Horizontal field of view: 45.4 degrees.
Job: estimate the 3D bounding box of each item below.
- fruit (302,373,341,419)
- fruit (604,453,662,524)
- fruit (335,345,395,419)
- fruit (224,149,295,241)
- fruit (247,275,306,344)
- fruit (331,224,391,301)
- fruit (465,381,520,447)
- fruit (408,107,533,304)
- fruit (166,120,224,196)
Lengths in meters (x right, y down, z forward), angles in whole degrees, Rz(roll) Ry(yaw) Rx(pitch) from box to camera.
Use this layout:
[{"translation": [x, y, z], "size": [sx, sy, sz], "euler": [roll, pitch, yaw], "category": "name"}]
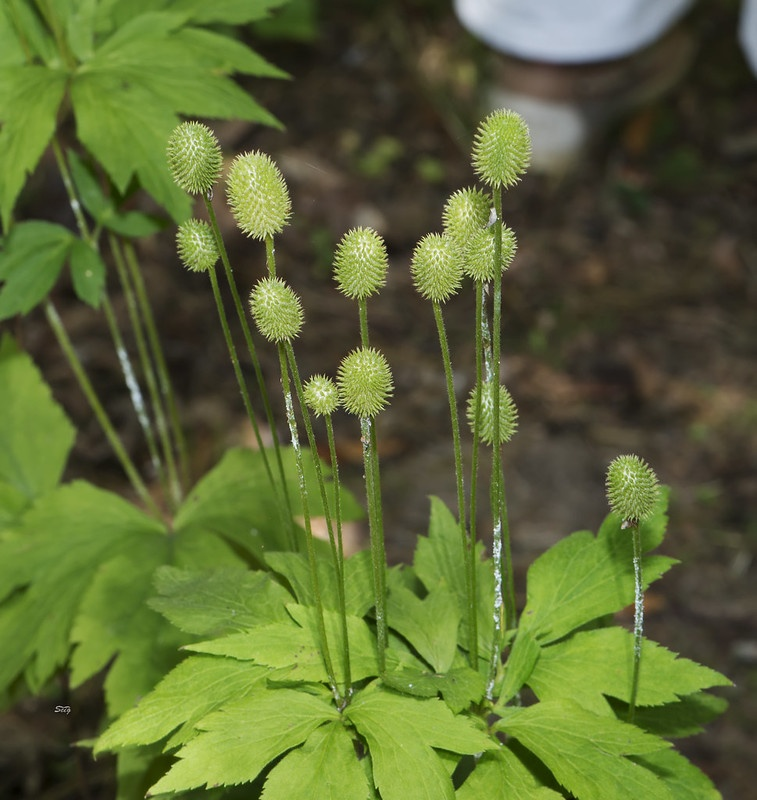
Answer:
[{"translation": [-0.053, -0.003, 0.959], "size": [0.015, 0.042, 0.040], "euler": [-33, 34, 27], "category": "fruit"}, {"translation": [0.281, 0.098, 1.006], "size": [0.058, 0.050, 0.067], "euler": [-16, 88, 2], "category": "fruit"}, {"translation": [-0.014, -0.021, 0.959], "size": [0.063, 0.062, 0.068], "euler": [-16, 72, 42], "category": "fruit"}, {"translation": [-0.125, -0.226, 1.005], "size": [0.075, 0.054, 0.092], "euler": [-7, 101, 11], "category": "fruit"}, {"translation": [-0.110, -0.110, 0.966], "size": [0.060, 0.050, 0.038], "euler": [36, 119, 55], "category": "fruit"}, {"translation": [-0.019, -0.146, 0.962], "size": [0.079, 0.074, 0.072], "euler": [-6, 95, -16], "category": "fruit"}, {"translation": [0.132, 0.011, 1.020], "size": [0.057, 0.052, 0.070], "euler": [-2, 81, 14], "category": "fruit"}, {"translation": [0.105, -0.197, 0.953], "size": [0.107, 0.105, 0.216], "euler": [15, 115, 17], "category": "fruit"}, {"translation": [-0.206, -0.263, 1.015], "size": [0.068, 0.049, 0.083], "euler": [-11, 97, -17], "category": "fruit"}]
